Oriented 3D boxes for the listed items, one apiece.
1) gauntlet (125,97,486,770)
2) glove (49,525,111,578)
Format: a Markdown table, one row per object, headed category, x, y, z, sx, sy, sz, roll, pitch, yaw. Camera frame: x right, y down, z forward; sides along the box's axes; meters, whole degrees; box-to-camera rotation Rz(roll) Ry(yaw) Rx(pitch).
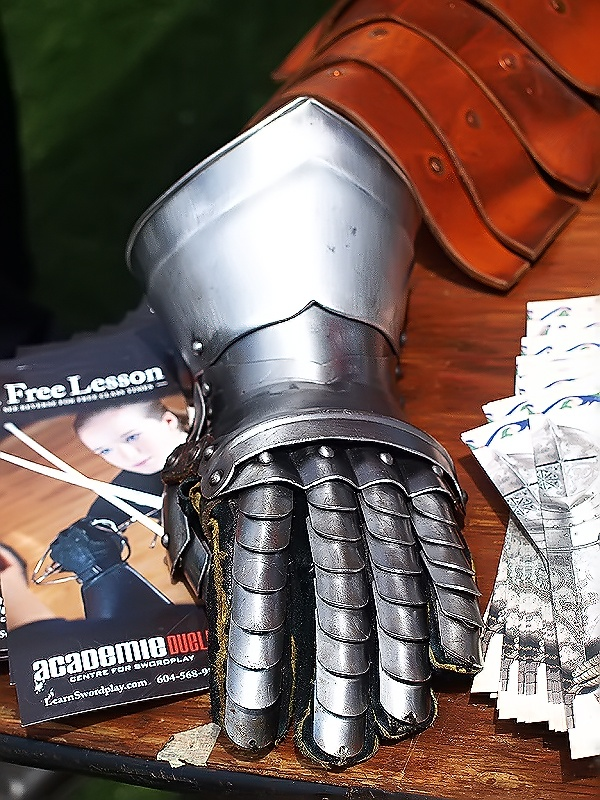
| category | x | y | z | sx | sy | sz | roll | pitch | yaw |
| --- | --- | --- | --- | --- | --- | --- | --- | --- | --- |
| gauntlet | 0.041 | 0.034 | 0.695 | 0.289 | 0.505 | 0.246 | -30 | -35 | 28 |
| glove | -0.198 | 0.138 | 0.690 | 0.038 | 0.051 | 0.023 | 29 | -31 | 14 |
